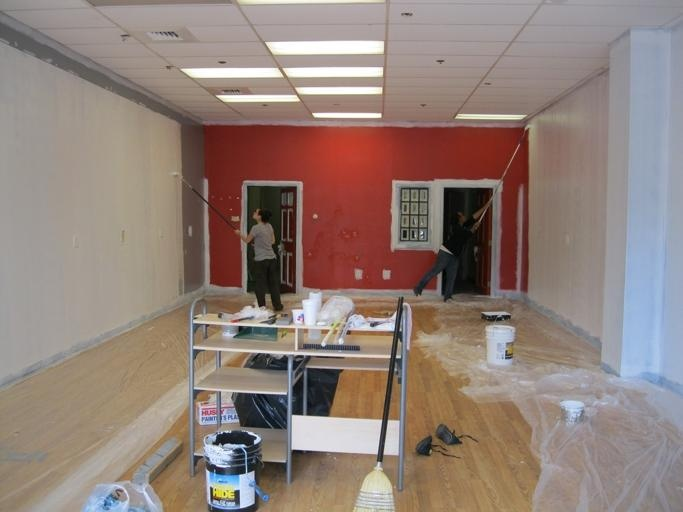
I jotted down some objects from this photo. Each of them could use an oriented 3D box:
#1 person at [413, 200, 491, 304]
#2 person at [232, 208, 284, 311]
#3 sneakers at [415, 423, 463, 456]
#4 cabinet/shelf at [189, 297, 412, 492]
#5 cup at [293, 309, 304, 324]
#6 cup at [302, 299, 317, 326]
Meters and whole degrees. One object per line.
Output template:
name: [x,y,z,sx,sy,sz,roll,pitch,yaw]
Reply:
person: [2.042,-0.164,9.408,0.928,2.072,0.473,10,-22,16]
person: [-1.275,0.077,8.262,0.646,1.650,0.920,-2,4,-19]
sneakers: [0.810,1.470,4.093,0.233,0.122,0.525,2,5,38]
cabinet/shelf: [-0.329,0.994,3.930,1.570,1.312,0.577,1,1,7]
cup: [-0.320,0.445,3.738,0.083,0.095,0.092,-10,-8,17]
cup: [-0.228,0.404,3.706,0.101,0.180,0.144,-1,4,1]
